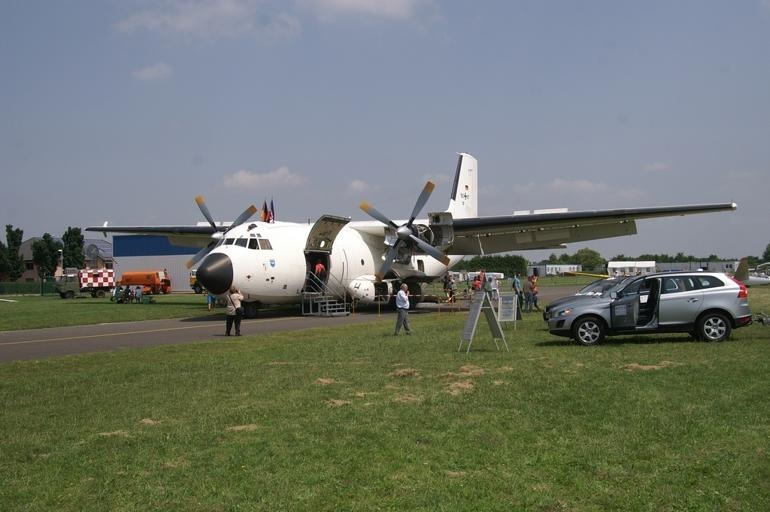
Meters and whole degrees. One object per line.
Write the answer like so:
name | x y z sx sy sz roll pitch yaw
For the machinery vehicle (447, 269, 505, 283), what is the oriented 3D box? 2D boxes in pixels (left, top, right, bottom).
machinery vehicle | 12.772 2.763 85.477 8.655 1.878 2.530 1 -1 10

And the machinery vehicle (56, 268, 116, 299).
machinery vehicle | -26.507 2.145 53.875 6.035 3.150 3.102 2 -5 -40

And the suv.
suv | 8.091 1.559 18.397 4.950 1.588 2.498 0 -4 7

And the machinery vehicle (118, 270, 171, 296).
machinery vehicle | -22.086 2.391 57.361 3.698 2.241 4.753 -1 -1 20
